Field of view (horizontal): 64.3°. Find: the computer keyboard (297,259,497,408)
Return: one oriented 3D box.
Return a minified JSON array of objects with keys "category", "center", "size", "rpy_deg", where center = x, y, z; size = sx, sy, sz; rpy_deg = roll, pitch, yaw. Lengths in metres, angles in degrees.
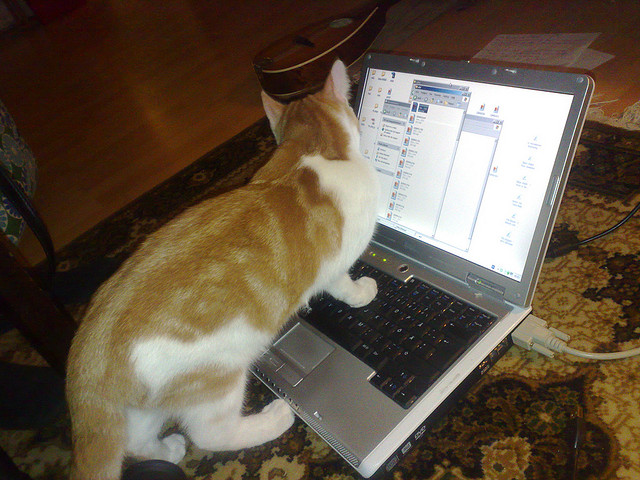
[{"category":"computer keyboard","center":[0.175,0.203,1.079],"size":[0.256,0.029,0.379],"rpy_deg":[-36,36,-20]}]
